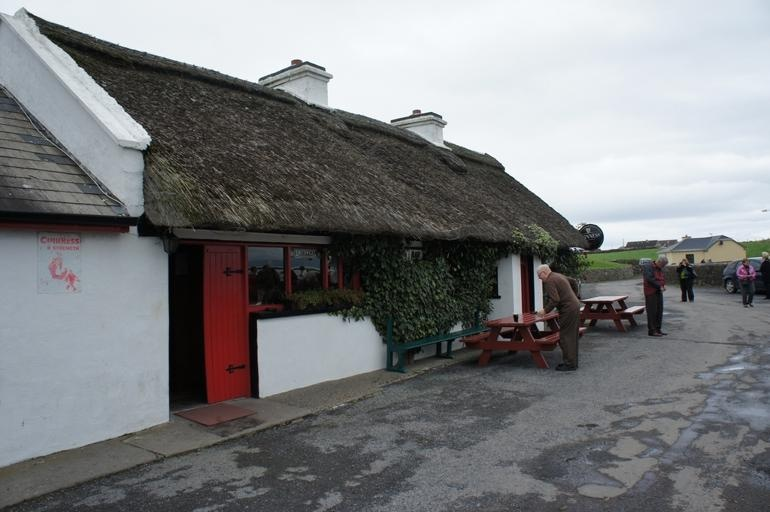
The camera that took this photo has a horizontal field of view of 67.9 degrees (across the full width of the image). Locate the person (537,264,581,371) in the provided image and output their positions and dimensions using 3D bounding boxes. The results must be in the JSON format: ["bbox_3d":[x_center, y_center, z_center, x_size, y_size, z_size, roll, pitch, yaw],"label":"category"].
[{"bbox_3d":[3.585,1.276,11.676,0.880,2.131,0.811,-4,10,-12],"label":"person"}]

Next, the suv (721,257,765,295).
[{"bbox_3d":[15.032,0.906,24.290,1.382,1.129,2.220,3,-7,-39],"label":"suv"}]

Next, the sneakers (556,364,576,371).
[{"bbox_3d":[3.644,2.253,11.515,0.358,0.149,0.149,2,-1,11],"label":"sneakers"}]
